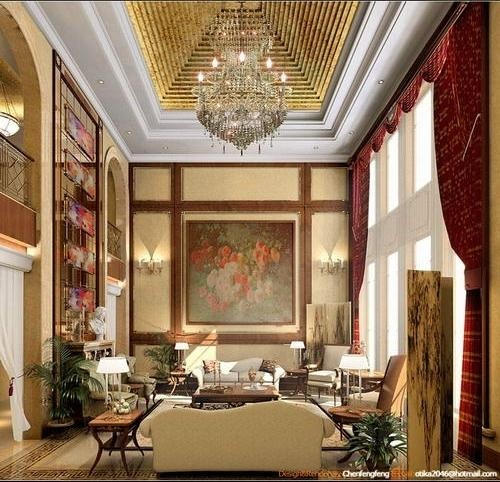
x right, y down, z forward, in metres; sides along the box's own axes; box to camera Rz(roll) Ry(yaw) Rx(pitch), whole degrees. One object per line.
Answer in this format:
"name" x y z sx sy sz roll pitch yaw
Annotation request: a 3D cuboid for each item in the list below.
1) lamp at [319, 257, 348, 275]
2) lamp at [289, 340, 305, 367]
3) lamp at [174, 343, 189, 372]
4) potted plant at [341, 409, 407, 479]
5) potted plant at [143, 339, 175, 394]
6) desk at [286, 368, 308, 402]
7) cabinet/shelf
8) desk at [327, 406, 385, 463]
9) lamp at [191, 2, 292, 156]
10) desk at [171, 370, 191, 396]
"lamp" 2.338 0.722 11.825 0.487 0.407 0.530 0 0 22
"lamp" 1.267 3.038 11.017 0.371 0.671 1.062 -2 -14 5
"lamp" -1.813 3.078 10.958 0.370 0.735 0.981 1 -14 -8
"potted plant" 1.335 2.172 4.393 0.590 0.605 0.762 -4 -14 13
"potted plant" -2.403 3.349 11.088 0.985 1.431 0.957 -2 -4 20
"desk" 1.245 3.524 10.222 0.593 0.773 0.630 -5 -10 30
"cabinet/shelf" -2.528 2.254 6.388 0.390 1.234 1.330 -1 -7 -4
"desk" 1.278 2.395 5.010 0.723 0.620 0.768 8 -17 -29
"lamp" -0.162 -2.964 7.689 1.641 2.404 2.381 -1 -13 -1
"desk" -1.811 3.566 10.398 0.518 0.687 0.588 1 -17 1
